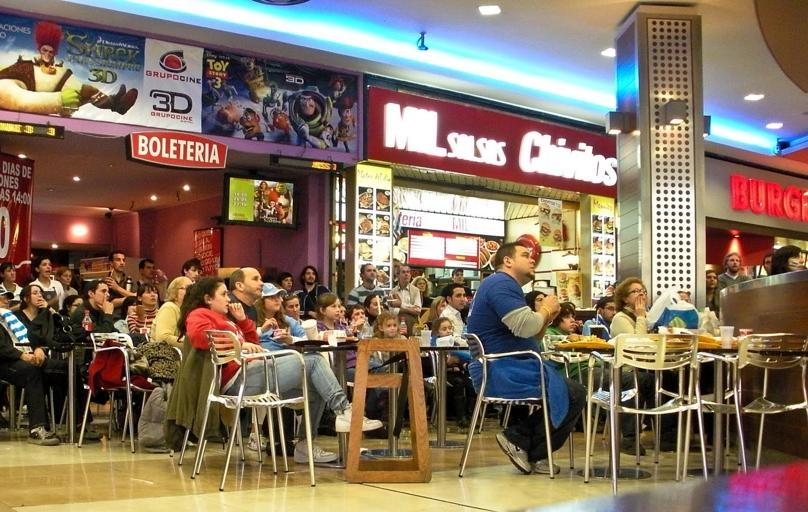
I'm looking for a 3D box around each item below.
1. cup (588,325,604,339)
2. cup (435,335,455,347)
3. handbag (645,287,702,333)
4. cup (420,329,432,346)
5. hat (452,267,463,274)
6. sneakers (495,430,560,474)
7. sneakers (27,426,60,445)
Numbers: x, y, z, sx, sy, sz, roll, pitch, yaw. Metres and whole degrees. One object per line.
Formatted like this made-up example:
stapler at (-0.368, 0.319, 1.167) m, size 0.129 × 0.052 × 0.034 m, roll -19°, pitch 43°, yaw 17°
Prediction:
cup at (2.393, 0.940, 8.231) m, size 0.161 × 0.114 × 0.157 m, roll 1°, pitch -6°, yaw 0°
cup at (0.427, 0.892, 6.878) m, size 0.180 × 0.162 × 0.135 m, roll -14°, pitch -14°, yaw 37°
handbag at (2.670, 0.568, 6.715) m, size 0.423 × 0.243 × 0.492 m, roll 3°, pitch -11°, yaw 0°
cup at (0.226, 0.847, 6.839) m, size 0.167 × 0.197 × 0.168 m, roll -1°, pitch -7°, yaw 0°
hat at (1.145, 0.315, 14.125) m, size 0.130 × 0.096 × 0.152 m, roll 1°, pitch -8°, yaw -2°
sneakers at (1.087, 1.712, 5.796) m, size 0.234 × 0.512 × 0.171 m, roll -45°, pitch 4°, yaw 7°
sneakers at (-3.734, 1.849, 6.849) m, size 0.385 × 0.137 × 0.144 m, roll -2°, pitch -6°, yaw 33°
